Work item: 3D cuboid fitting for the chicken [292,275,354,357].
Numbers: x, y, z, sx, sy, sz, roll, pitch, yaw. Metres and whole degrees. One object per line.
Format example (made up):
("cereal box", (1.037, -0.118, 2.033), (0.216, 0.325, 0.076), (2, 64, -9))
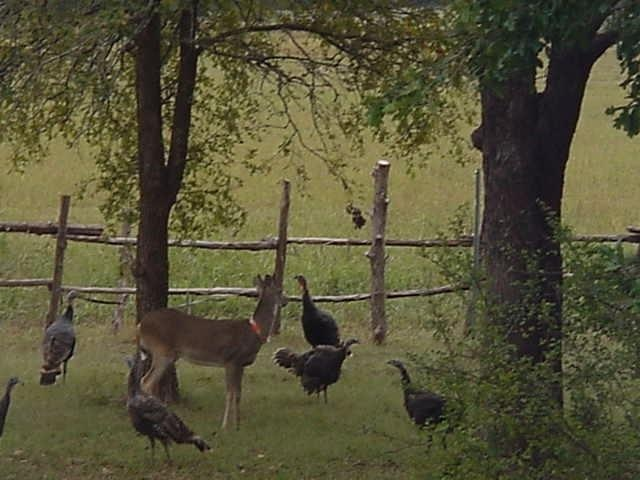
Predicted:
("chicken", (-0.081, 1.389, 19.895), (1.144, 1.695, 0.585), (9, 11, 19))

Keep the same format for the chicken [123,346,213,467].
("chicken", (-2.375, 2.688, 17.524), (1.112, 1.850, 1.065), (1, 9, -43))
